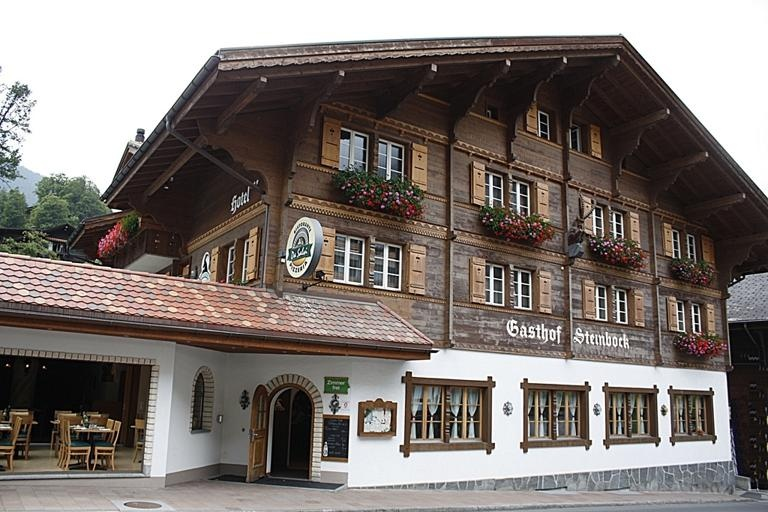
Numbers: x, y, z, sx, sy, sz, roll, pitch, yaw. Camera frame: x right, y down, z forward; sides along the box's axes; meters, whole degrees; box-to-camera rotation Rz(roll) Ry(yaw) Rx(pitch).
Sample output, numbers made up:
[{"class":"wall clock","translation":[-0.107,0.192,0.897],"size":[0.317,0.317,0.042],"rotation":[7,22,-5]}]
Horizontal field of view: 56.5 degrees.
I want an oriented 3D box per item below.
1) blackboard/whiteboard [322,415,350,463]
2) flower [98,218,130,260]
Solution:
[{"class":"blackboard/whiteboard","translation":[-1.581,5.917,23.265],"size":[0.876,1.349,0.422],"rotation":[2,-19,-3]},{"class":"flower","translation":[-11.739,-0.793,31.123],"size":[2.442,0.996,0.697],"rotation":[-32,-8,41]}]
